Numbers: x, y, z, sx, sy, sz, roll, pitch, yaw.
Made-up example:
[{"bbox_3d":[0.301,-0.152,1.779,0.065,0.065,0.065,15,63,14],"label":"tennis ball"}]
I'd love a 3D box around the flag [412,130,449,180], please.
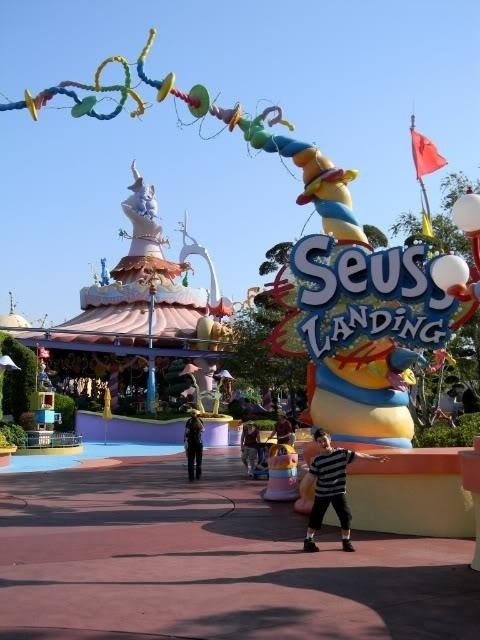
[{"bbox_3d":[4.936,-4.441,17.804,0.645,1.441,0.841,-5,-5,42],"label":"flag"}]

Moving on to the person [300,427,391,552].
[{"bbox_3d":[1.061,1.870,7.451,0.744,1.378,1.086,-2,-4,7],"label":"person"}]

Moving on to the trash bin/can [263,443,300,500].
[{"bbox_3d":[0.653,2.553,11.317,0.879,0.804,0.761,-4,-7,20],"label":"trash bin/can"}]

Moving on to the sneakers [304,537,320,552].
[{"bbox_3d":[0.749,2.387,7.077,0.099,0.095,0.183,8,-11,-36],"label":"sneakers"}]
